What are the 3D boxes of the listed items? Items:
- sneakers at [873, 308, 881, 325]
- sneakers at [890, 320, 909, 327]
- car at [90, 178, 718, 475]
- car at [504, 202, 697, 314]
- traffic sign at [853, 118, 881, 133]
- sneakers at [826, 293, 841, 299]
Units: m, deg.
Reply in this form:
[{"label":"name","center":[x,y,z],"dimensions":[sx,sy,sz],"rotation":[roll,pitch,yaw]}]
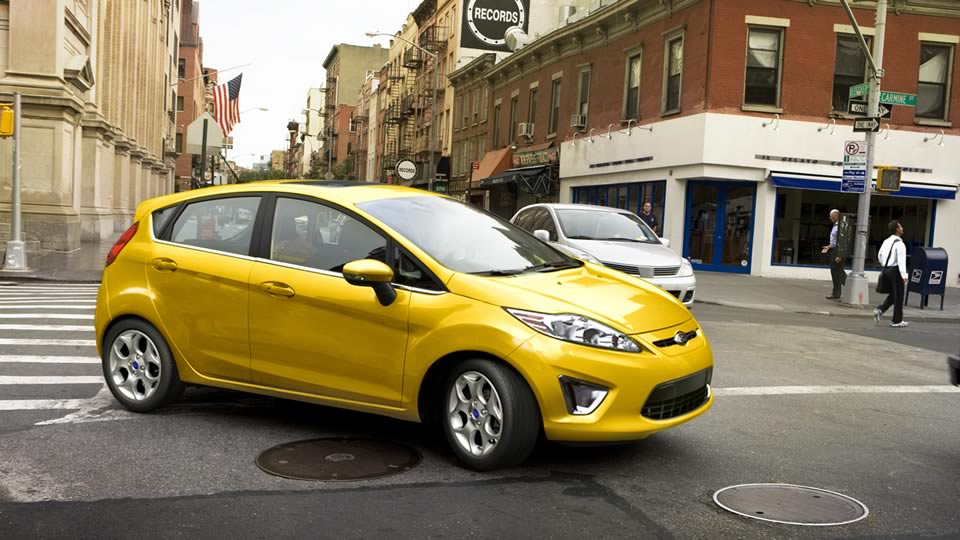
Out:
[{"label":"sneakers","center":[9.615,1.159,18.399],"dimensions":[0.216,0.243,0.588],"rotation":[1,-15,18]},{"label":"sneakers","center":[9.677,1.269,17.643],"dimensions":[0.298,0.131,0.104],"rotation":[-5,25,-13]},{"label":"car","center":[-1.095,0.507,9.181],"dimensions":[6.272,2.194,3.350],"rotation":[3,3,23]},{"label":"car","center":[3.593,-0.148,18.082],"dimensions":[2.460,1.772,4.930],"rotation":[-9,0,11]},{"label":"traffic sign","center":[10.600,-3.979,20.931],"dimensions":[0.967,0.525,0.044],"rotation":[1,1,13]},{"label":"sneakers","center":[10.111,0.778,21.914],"dimensions":[0.134,0.160,0.402],"rotation":[-11,11,-42]}]
